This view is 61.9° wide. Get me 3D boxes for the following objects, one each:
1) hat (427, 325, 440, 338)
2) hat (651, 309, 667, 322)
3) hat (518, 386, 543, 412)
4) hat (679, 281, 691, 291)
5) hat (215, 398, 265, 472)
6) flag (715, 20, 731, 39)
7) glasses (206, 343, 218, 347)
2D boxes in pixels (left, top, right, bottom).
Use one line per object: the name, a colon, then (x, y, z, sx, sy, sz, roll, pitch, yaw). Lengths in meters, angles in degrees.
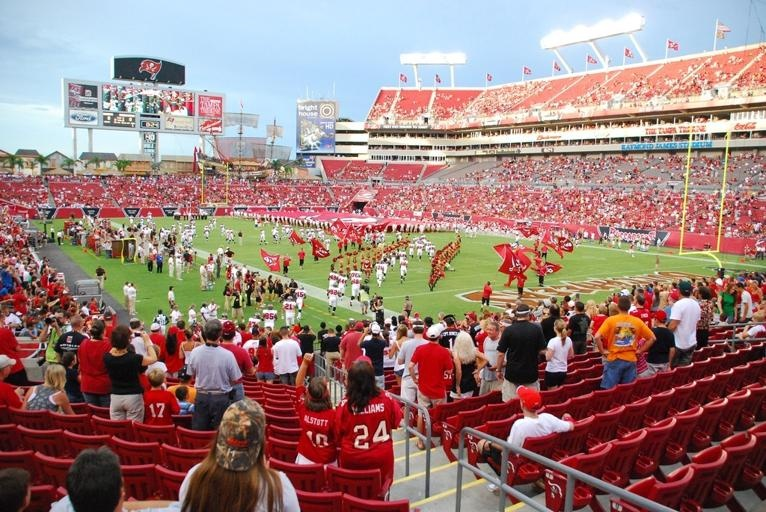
hat: (1.008, 1.589, 12.952, 0.247, 0.146, 0.367, 0, 20, 8)
hat: (6.279, 1.351, 14.503, 0.259, 0.211, 0.431, 24, -10, 18)
hat: (2.606, 2.563, 11.413, 0.364, 0.461, 0.398, 2, 8, 15)
hat: (6.828, 0.681, 14.412, 0.254, 0.240, 0.277, 3, 9, 23)
hat: (-1.992, 2.417, 8.859, 0.691, 0.506, 1.039, 12, 40, 1)
flag: (35.333, -23.708, 66.622, 0.924, 1.571, 1.728, 4, 9, 28)
glasses: (-3.313, 1.708, 12.293, 0.212, 0.068, 0.046, -1, 8, -4)
